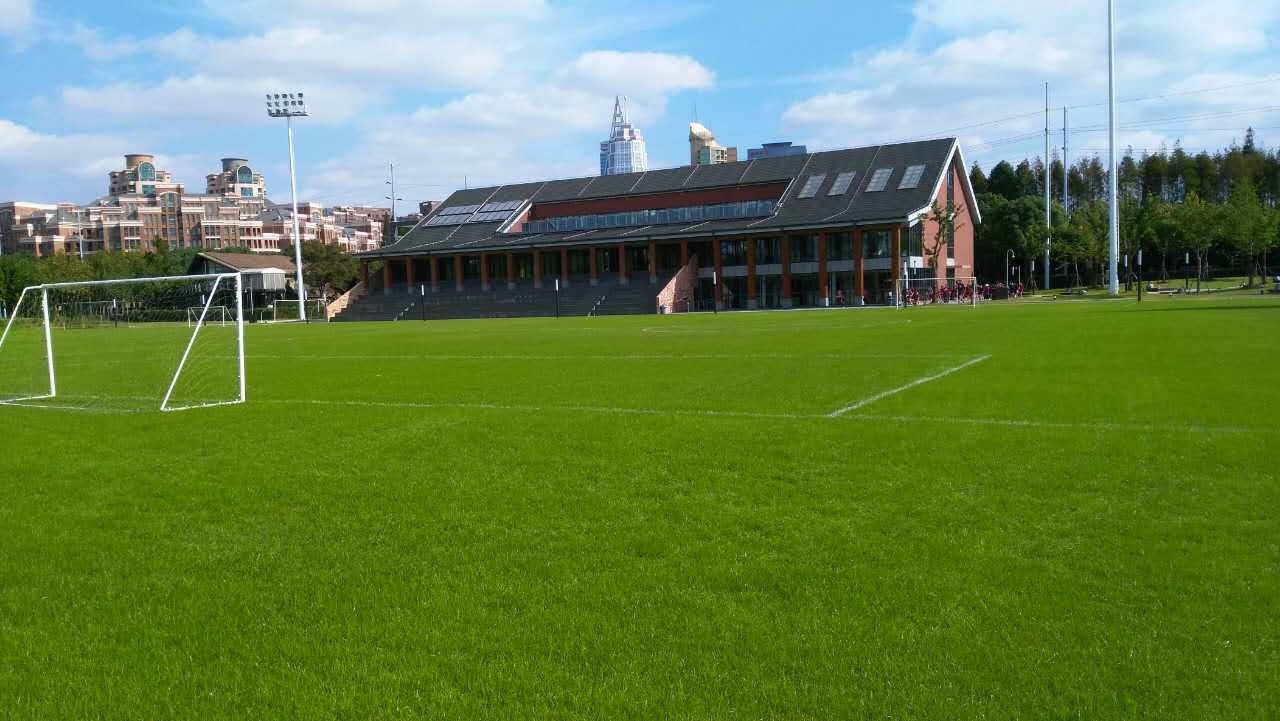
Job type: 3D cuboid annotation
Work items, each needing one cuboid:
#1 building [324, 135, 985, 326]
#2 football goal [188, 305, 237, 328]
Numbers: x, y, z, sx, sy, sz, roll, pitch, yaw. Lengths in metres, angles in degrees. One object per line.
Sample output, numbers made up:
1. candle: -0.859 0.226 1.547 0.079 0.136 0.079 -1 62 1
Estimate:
1. building: -2.767 -8.237 76.681 45.078 10.091 23.414 1 8 20
2. football goal: -8.765 -0.929 24.186 0.966 0.490 0.939 -7 9 -31
